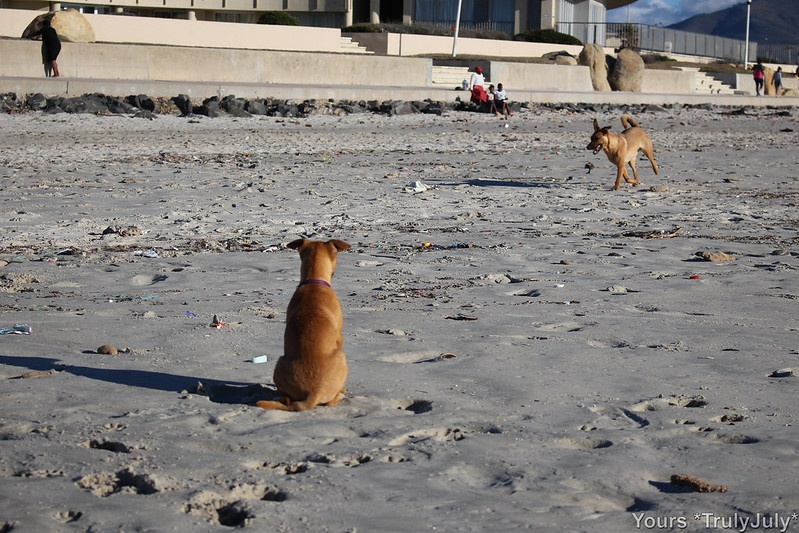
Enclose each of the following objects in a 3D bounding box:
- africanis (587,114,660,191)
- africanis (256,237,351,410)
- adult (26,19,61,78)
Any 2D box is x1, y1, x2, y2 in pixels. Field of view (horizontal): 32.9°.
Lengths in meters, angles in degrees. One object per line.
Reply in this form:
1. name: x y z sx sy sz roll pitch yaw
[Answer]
1. africanis: 3.902 -2.062 23.815 0.556 1.290 2.173 -5 9 38
2. africanis: -0.962 0.660 15.116 1.036 1.946 1.215 2 -35 -5
3. adult: -9.654 -5.958 37.536 0.528 1.404 1.208 -2 9 -12
